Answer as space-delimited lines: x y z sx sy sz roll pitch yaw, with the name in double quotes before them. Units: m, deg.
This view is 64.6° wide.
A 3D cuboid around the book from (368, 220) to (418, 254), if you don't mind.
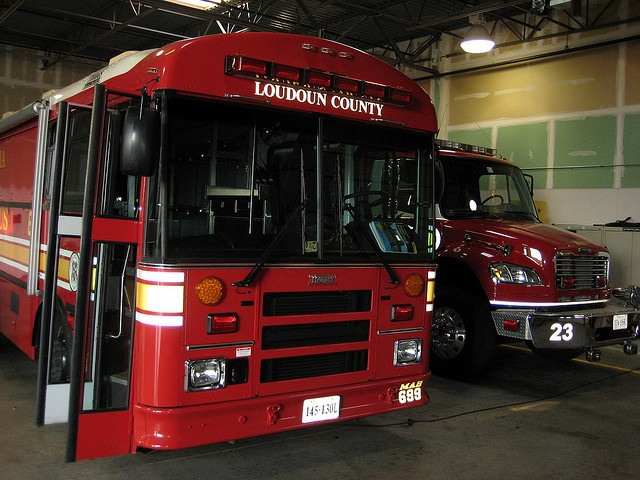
"book" 0.696 -0.028 4.831 0.367 0.325 0.093 -2 -29 -38
